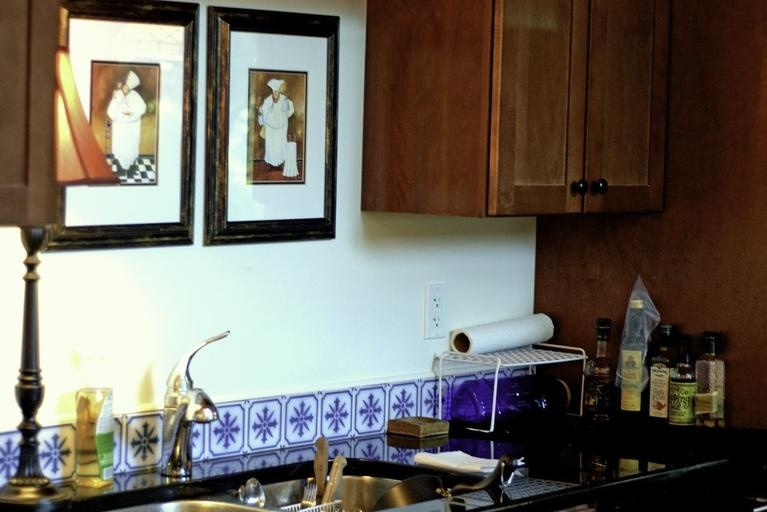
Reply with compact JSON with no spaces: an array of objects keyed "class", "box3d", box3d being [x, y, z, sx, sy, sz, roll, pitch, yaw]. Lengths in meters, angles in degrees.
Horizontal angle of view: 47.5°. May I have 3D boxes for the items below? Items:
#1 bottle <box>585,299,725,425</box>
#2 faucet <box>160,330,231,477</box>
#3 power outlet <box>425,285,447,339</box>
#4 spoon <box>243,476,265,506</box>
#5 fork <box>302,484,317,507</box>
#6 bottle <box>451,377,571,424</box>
[{"class":"bottle","box3d":[0.936,0.370,2.957,0.361,0.457,0.147,-1,-6,40]},{"class":"faucet","box3d":[-0.543,0.417,2.444,0.159,0.395,0.211,0,-3,-41]},{"class":"power outlet","box3d":[0.177,0.188,2.972,0.088,0.185,0.024,-1,-3,-33]},{"class":"spoon","box3d":[-0.358,0.654,2.405,0.064,0.066,0.023,41,-35,-11]},{"class":"fork","box3d":[-0.212,0.686,2.504,0.030,0.066,0.009,3,-26,1]},{"class":"bottle","box3d":[0.446,0.484,3.027,0.396,0.141,0.174,-7,-29,-36]}]
